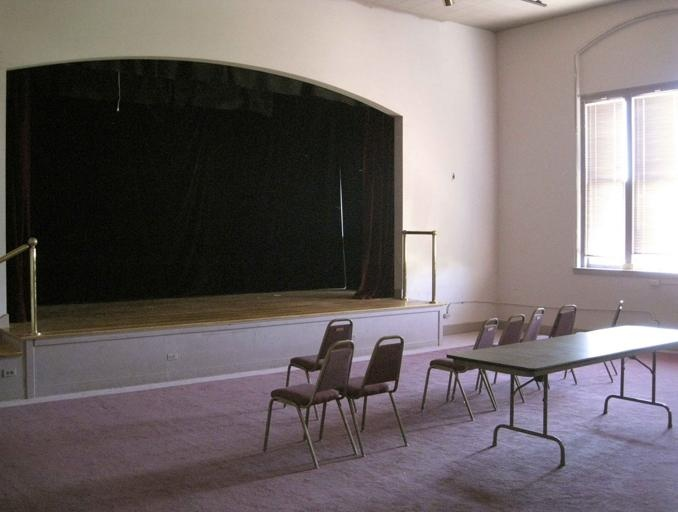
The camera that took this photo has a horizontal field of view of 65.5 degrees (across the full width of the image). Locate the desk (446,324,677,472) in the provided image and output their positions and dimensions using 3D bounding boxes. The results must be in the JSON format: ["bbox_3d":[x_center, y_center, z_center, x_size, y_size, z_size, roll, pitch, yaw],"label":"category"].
[{"bbox_3d":[2.046,1.161,4.608,2.445,0.822,0.810,-2,5,-30],"label":"desk"}]

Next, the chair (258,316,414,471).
[{"bbox_3d":[0.051,1.129,4.424,1.000,0.934,1.149,2,4,25],"label":"chair"}]
